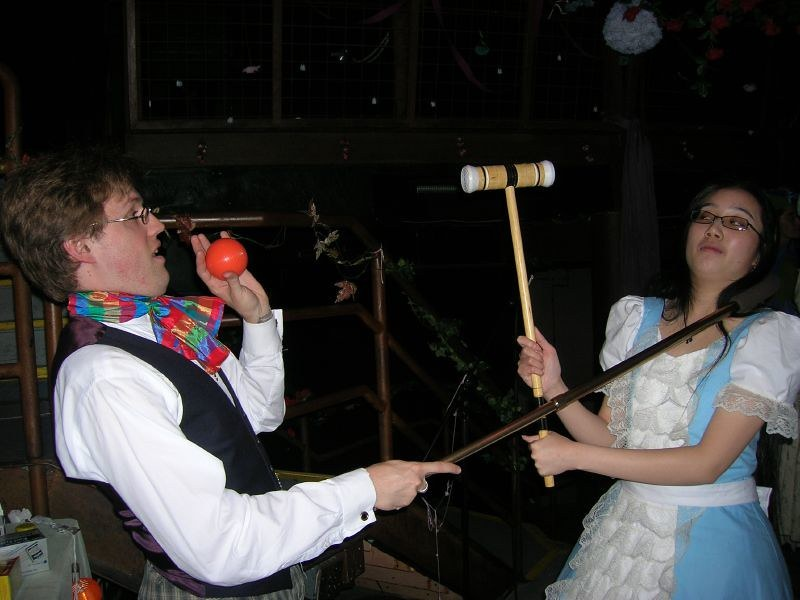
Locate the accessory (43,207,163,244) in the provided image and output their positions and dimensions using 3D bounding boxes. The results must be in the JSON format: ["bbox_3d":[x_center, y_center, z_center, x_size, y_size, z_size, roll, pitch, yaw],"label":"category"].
[{"bbox_3d":[-1.125,-0.298,2.804,0.204,0.065,0.203,-12,10,3],"label":"accessory"}]

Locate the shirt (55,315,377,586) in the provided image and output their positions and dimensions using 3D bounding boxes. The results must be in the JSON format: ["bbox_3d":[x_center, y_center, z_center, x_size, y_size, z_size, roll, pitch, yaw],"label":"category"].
[{"bbox_3d":[-0.705,0.699,2.847,1.019,0.792,1.126,-2,16,-7],"label":"shirt"}]

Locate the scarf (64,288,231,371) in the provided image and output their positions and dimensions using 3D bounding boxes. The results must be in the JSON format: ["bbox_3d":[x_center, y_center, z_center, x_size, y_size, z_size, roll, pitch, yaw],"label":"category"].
[{"bbox_3d":[-0.977,0.116,2.835,0.444,0.370,0.165,3,-34,-30],"label":"scarf"}]
